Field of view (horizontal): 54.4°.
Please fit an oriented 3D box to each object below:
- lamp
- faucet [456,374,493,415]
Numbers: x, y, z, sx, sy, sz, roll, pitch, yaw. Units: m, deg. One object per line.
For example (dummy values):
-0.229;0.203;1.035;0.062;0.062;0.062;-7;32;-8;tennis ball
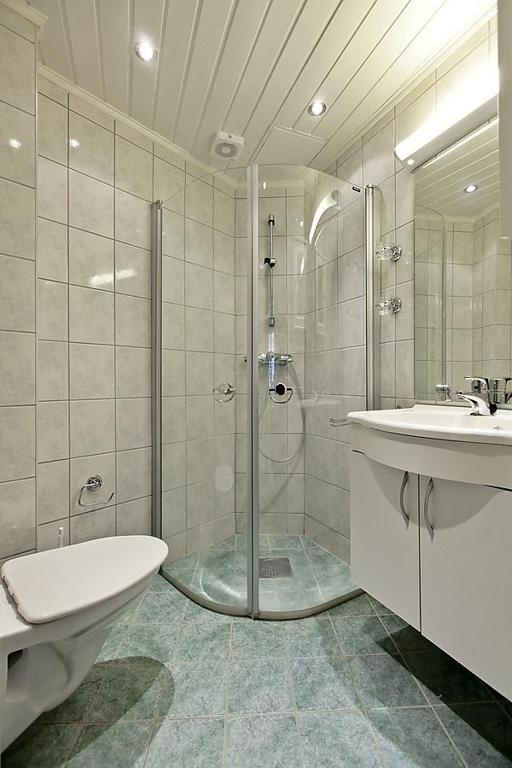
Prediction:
0.678;-0.955;1.808;0.074;0.268;0.446;-4;8;-28;lamp
0.740;0.035;1.703;0.121;0.166;0.086;9;-8;-21;faucet
